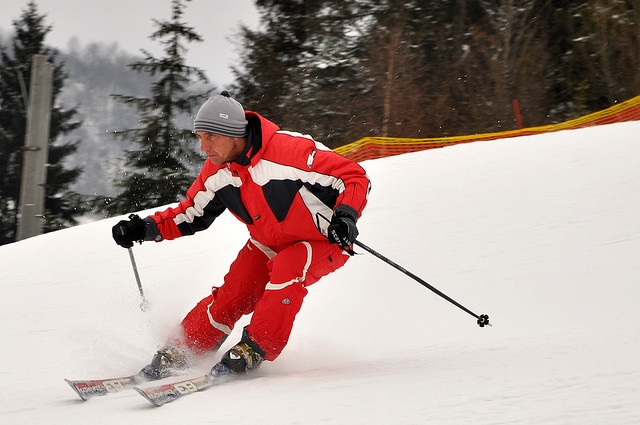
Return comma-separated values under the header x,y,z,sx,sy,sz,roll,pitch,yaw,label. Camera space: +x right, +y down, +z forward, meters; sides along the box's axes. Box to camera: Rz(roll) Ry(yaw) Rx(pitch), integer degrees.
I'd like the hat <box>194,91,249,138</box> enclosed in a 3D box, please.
x,y,z,sx,sy,sz,roll,pitch,yaw,label
-1.234,-1.204,9.373,0.759,0.525,0.712,-1,10,-21,hat
